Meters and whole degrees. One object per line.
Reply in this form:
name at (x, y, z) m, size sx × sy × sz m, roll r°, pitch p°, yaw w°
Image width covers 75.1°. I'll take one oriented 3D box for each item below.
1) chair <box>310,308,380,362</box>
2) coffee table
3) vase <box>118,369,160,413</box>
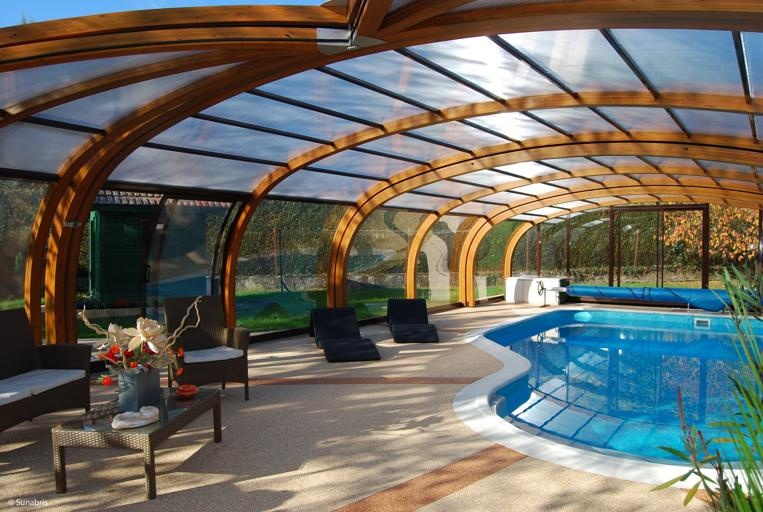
chair at (-0.894, 1.844, 11.775) m, size 1.186 × 0.911 × 1.850 m, roll -2°, pitch 6°, yaw -18°
coffee table at (-3.135, 2.236, 6.080) m, size 1.279 × 0.579 × 1.762 m, roll 0°, pitch 3°, yaw 9°
vase at (-3.082, 1.707, 6.248) m, size 0.377 × 0.516 × 0.645 m, roll -5°, pitch -5°, yaw 25°
